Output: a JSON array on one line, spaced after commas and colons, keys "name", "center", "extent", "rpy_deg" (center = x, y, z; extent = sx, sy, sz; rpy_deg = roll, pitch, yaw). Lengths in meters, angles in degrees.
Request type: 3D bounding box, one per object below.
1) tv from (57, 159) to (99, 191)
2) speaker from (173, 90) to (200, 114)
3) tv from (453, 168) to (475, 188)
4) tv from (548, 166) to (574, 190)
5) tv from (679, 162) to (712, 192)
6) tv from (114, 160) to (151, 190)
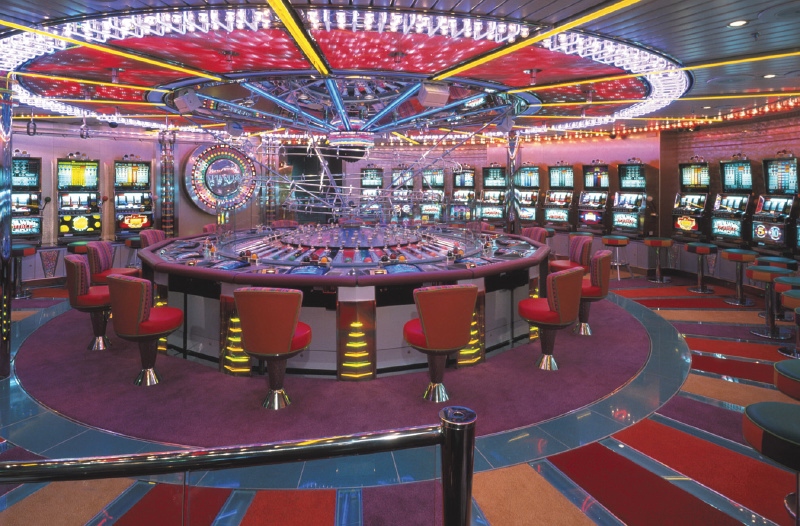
[{"name": "tv", "center": [-7.524, -2.025, 12.254], "extent": [0.481, 0.696, 0.932], "rpy_deg": [1, 2, 42]}, {"name": "speaker", "center": [-3.801, -2.816, 9.423], "extent": [0.436, 0.365, 0.385], "rpy_deg": [-8, -31, -9]}, {"name": "tv", "center": [2.144, -2.763, 17.582], "extent": [0.691, 0.644, 0.270], "rpy_deg": [5, 14, 23]}, {"name": "tv", "center": [4.780, -2.475, 15.561], "extent": [0.312, 0.702, 0.851], "rpy_deg": [0, 0, -35]}, {"name": "tv", "center": [6.989, -1.998, 12.430], "extent": [0.283, 0.649, 0.785], "rpy_deg": [3, -9, -31]}, {"name": "tv", "center": [-6.643, -2.144, 13.030], "extent": [0.473, 0.664, 0.894], "rpy_deg": [2, 3, 43]}]
